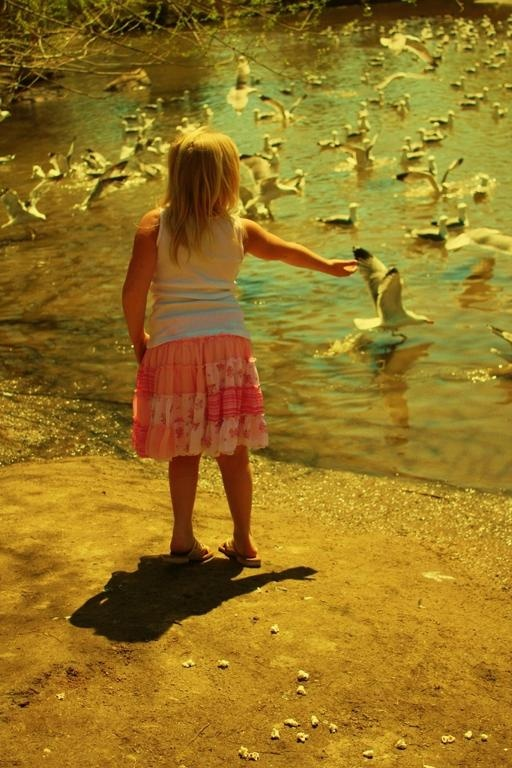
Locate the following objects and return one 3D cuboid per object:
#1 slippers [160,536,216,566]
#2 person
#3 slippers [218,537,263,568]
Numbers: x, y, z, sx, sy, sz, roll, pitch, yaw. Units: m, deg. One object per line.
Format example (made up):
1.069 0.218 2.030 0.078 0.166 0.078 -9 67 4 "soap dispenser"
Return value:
-0.241 0.614 2.877 0.194 0.068 0.070 -4 13 -35 "slippers"
-0.170 -0.087 2.701 0.634 1.498 0.369 6 13 -17 "person"
-0.063 0.621 2.897 0.064 0.043 0.162 -8 18 -34 "slippers"
